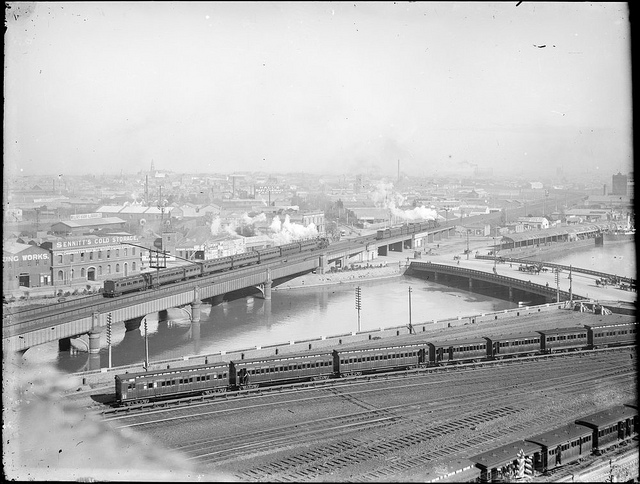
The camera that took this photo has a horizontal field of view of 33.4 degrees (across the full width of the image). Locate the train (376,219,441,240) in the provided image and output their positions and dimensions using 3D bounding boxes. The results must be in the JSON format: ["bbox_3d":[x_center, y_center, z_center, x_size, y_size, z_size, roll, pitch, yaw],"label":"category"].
[{"bbox_3d":[3.785,-0.533,45.476,0.620,0.635,6.329,1,4,26],"label":"train"}]

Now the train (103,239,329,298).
[{"bbox_3d":[-3.026,0.825,31.677,0.632,0.202,10.800,12,13,36],"label":"train"}]

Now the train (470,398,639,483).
[{"bbox_3d":[4.205,3.591,19.036,3.012,0.629,0.499,-17,6,-26],"label":"train"}]
